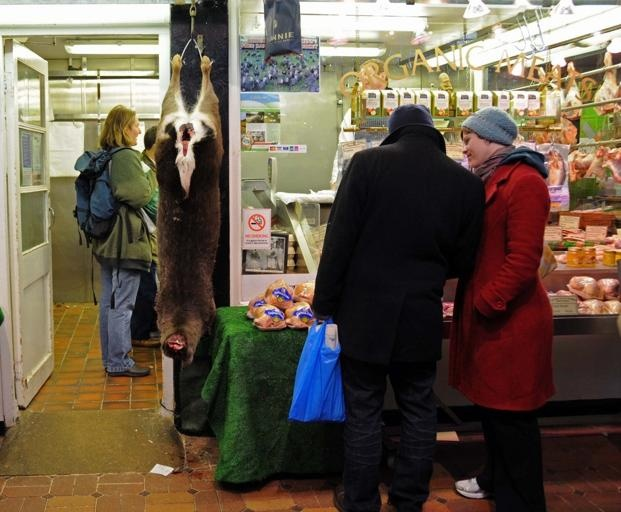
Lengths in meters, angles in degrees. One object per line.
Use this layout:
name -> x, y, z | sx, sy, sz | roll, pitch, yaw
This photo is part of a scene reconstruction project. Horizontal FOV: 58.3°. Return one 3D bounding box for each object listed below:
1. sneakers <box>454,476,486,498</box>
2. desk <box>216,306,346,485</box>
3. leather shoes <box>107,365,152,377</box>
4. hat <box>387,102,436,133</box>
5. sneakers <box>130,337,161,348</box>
sneakers -> 0.819, 1.197, 2.870 | 0.161, 0.076, 0.067 | 4, 0, 2
desk -> -0.189, 0.741, 3.186 | 0.759, 0.628, 0.874 | 1, 0, -9
leather shoes -> -1.456, 0.900, 4.472 | 0.306, 0.133, 0.122 | -1, -2, -9
hat -> 0.446, -0.625, 2.499 | 0.127, 0.098, 0.176 | 2, 2, 1
sneakers -> -1.543, 0.821, 5.246 | 0.309, 0.124, 0.095 | 7, -10, -2
